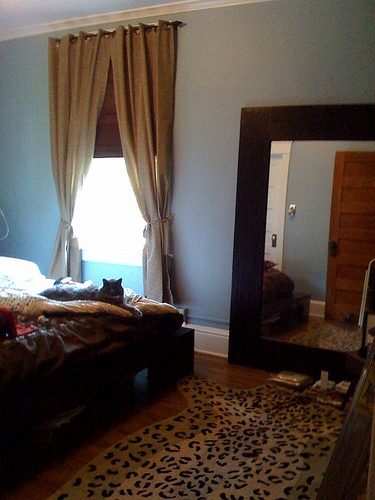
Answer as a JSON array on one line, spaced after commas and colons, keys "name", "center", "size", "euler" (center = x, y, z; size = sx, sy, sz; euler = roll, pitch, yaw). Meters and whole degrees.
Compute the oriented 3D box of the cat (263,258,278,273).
[{"name": "cat", "center": [0.578, 0.112, 2.893], "size": [0.068, 0.075, 0.041], "euler": [21, 36, 11]}]
